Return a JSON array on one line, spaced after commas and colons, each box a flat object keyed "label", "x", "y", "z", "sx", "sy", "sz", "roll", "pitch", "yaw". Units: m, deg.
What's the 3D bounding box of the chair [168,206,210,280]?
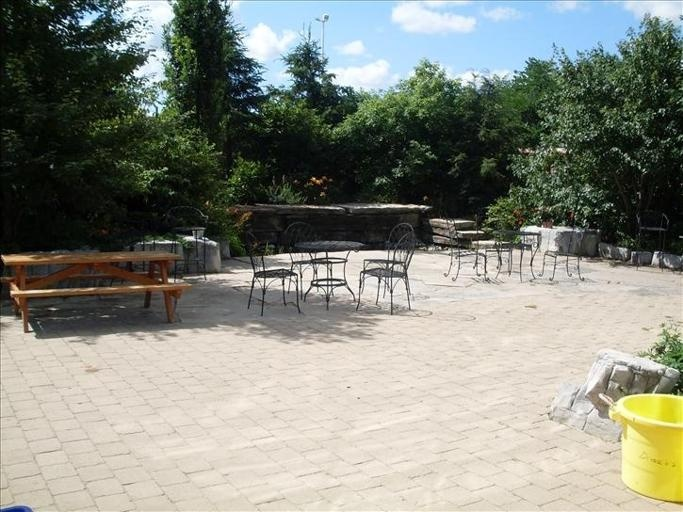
[{"label": "chair", "x": -3.224, "y": -0.361, "z": 10.985, "sx": 0.875, "sy": 1.306, "sz": 2.344, "roll": -1, "pitch": 6, "yaw": -17}]

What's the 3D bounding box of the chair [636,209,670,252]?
[{"label": "chair", "x": 7.774, "y": -0.610, "z": 13.008, "sx": 0.658, "sy": 0.956, "sz": 2.100, "roll": 5, "pitch": 7, "yaw": 30}]
